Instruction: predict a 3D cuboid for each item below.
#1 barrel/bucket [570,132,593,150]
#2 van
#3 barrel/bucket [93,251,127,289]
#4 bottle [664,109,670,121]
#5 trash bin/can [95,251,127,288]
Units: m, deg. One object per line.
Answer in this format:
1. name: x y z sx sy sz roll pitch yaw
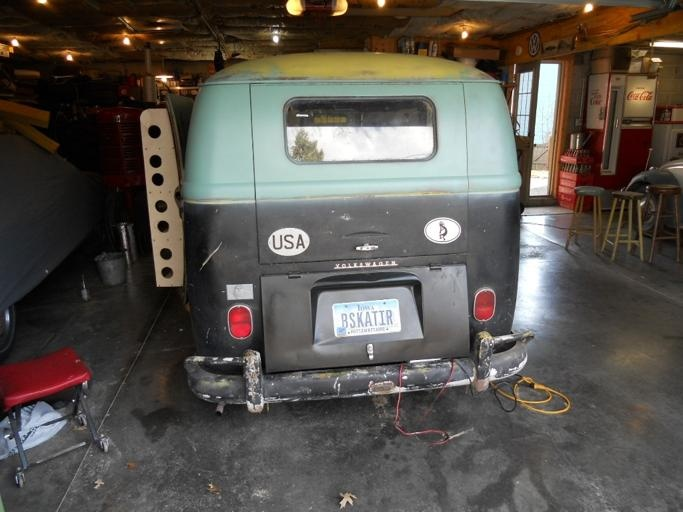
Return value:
1. barrel/bucket: 5.362 -2.575 11.138 0.469 0.459 0.304 3 9 16
2. van: -0.005 -0.582 4.731 2.084 2.019 2.980 -2 18 -5
3. barrel/bucket: -3.184 0.190 7.011 0.450 0.385 0.405 -3 10 -12
4. bottle: 7.378 -3.200 11.278 0.065 0.227 0.185 -6 12 -13
5. trash bin/can: -3.197 0.163 7.061 0.430 0.413 0.478 4 -1 39
